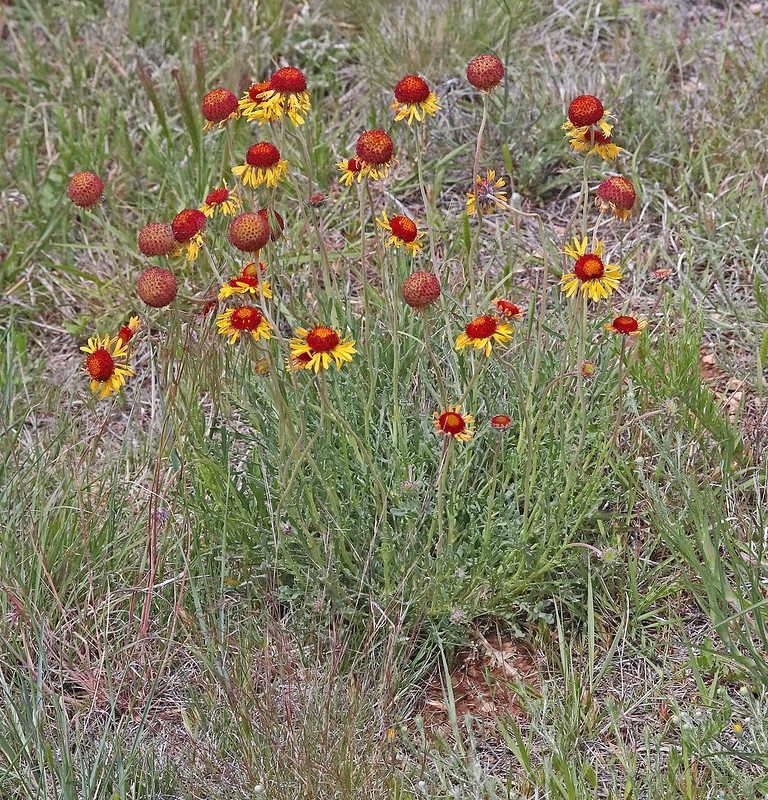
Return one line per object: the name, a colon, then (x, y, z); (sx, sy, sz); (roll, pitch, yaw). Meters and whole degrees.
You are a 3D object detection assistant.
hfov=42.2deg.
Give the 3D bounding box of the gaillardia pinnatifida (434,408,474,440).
gaillardia pinnatifida: (0.193, 0.080, 2.684); (0.081, 0.037, 0.110); (3, 51, -27)
